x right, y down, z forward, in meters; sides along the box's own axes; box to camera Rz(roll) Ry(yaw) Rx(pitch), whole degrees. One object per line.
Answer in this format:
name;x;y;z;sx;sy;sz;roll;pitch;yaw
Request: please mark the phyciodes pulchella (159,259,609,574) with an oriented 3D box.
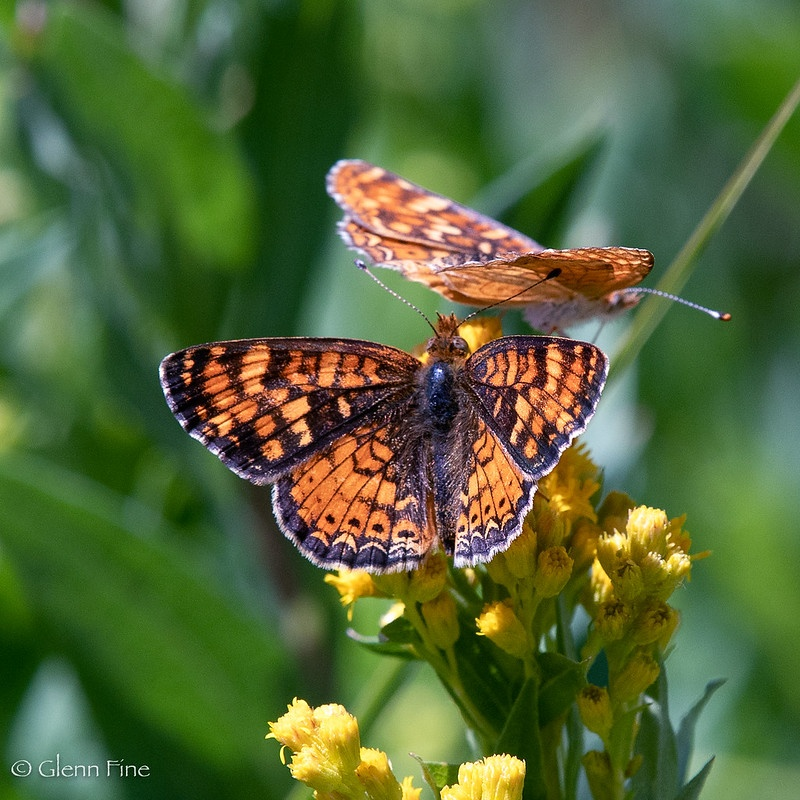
phyciodes pulchella;0.038;0.042;1.168;0.499;0.276;0.242;-5;-31;20
